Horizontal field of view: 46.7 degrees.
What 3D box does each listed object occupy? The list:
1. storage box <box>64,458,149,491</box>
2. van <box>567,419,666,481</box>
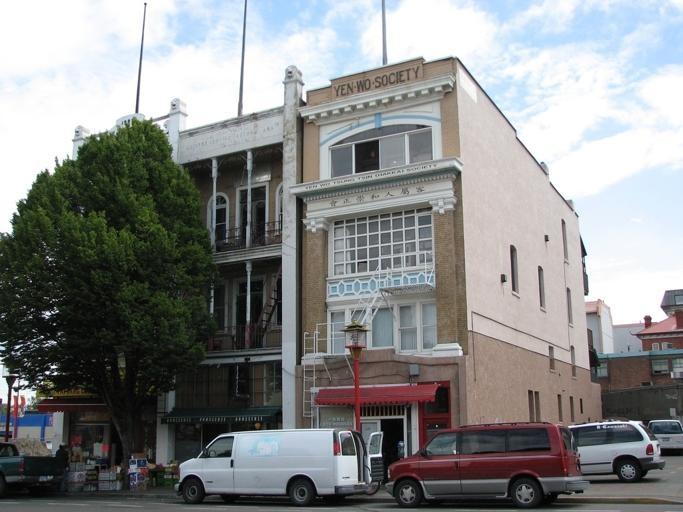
[{"bbox_3d":[-10.614,9.904,35.784,3.397,1.409,1.658,-1,-14,-4],"label":"storage box"},{"bbox_3d":[11.203,7.731,31.991,4.570,2.135,2.305,-3,-9,25],"label":"van"}]
